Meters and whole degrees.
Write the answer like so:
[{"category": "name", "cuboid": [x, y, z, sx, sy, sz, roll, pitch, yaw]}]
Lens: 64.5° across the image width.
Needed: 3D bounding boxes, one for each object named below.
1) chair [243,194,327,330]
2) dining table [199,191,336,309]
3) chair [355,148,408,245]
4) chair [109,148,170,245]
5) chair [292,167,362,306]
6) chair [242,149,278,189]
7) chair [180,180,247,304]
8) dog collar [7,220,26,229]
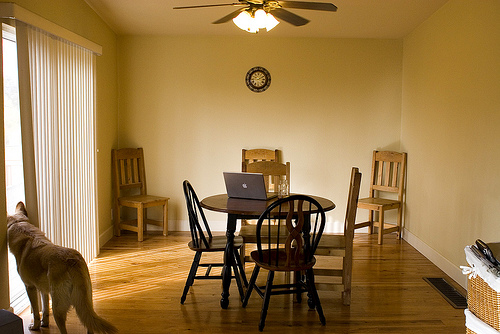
[{"category": "chair", "cuboid": [0.372, 0.793, 4.280, 0.850, 1.338, 1.438, 1, 12, 4]}, {"category": "dining table", "cuboid": [0.118, 0.918, 4.202, 1.332, 0.951, 1.270, 0, -2, -2]}, {"category": "chair", "cuboid": [1.915, 0.444, 6.143, 0.765, 1.339, 0.743, 5, 7, 42]}, {"category": "chair", "cuboid": [-1.693, 0.412, 6.157, 0.826, 1.324, 0.737, 11, 16, 39]}, {"category": "chair", "cuboid": [0.815, 0.762, 4.471, 0.961, 1.328, 0.908, 2, 0, -7]}, {"category": "chair", "cuboid": [0.140, 0.032, 5.581, 0.517, 0.905, 0.526, 0, -5, -1]}, {"category": "chair", "cuboid": [-0.392, 0.812, 4.333, 0.668, 1.136, 0.620, 1, 0, -6]}, {"category": "dog collar", "cuboid": [-2.206, 0.547, 3.737, 0.075, 0.019, 0.079, 2, 33, 39]}]
